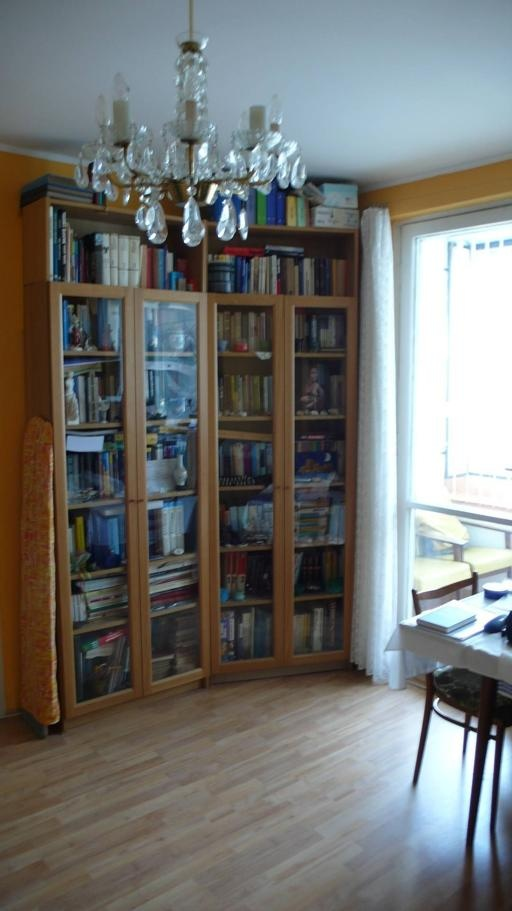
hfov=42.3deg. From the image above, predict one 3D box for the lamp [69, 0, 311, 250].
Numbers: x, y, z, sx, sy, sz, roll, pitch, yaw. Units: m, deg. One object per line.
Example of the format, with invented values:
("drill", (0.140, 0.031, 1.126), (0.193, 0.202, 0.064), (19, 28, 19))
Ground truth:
("lamp", (-0.130, -0.763, 1.447), (0.465, 0.559, 0.230), (1, 3, 6))
